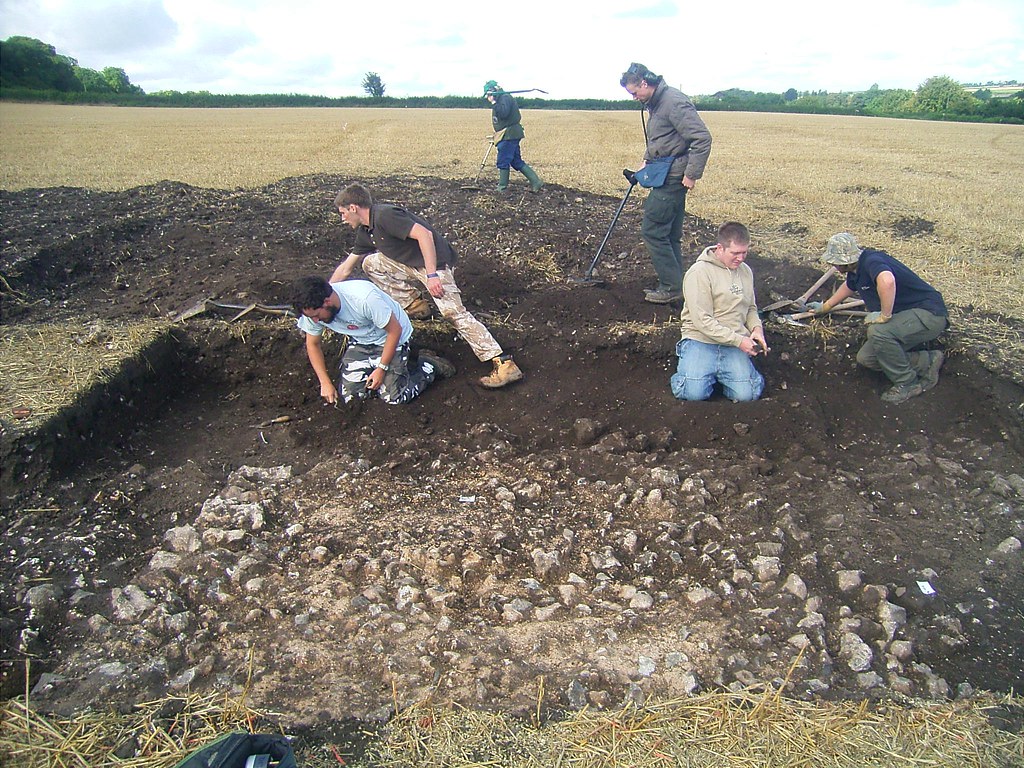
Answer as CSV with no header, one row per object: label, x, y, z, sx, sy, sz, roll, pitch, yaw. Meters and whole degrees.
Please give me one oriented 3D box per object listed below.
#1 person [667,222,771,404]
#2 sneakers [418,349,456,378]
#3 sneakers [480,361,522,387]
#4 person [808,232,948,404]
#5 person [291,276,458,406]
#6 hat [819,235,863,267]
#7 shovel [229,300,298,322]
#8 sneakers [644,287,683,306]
person,1.862,-0.608,6.522,0.903,1.564,0.874,-5,30,-3
sneakers,-0.677,-0.199,6.946,0.413,0.172,0.175,35,24,-20
sneakers,-0.066,-0.060,6.680,0.406,0.285,0.185,-2,47,4
person,3.283,-0.605,6.434,1.055,1.263,0.761,15,35,29
person,-1.266,-0.408,6.504,1.132,1.479,0.831,-14,36,6
hat,2.920,-1.140,6.461,0.314,0.168,0.309,-2,36,23
shovel,-2.467,-0.704,7.294,0.527,0.231,0.119,-6,38,-37
sneakers,1.599,-0.906,7.741,0.321,0.129,0.185,4,19,5
